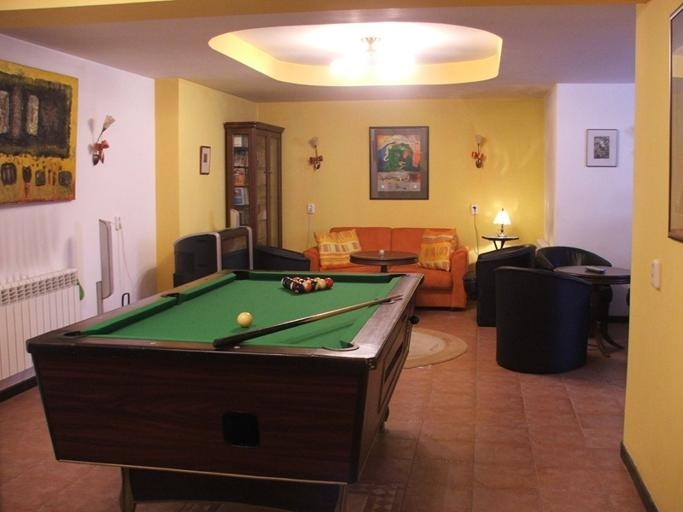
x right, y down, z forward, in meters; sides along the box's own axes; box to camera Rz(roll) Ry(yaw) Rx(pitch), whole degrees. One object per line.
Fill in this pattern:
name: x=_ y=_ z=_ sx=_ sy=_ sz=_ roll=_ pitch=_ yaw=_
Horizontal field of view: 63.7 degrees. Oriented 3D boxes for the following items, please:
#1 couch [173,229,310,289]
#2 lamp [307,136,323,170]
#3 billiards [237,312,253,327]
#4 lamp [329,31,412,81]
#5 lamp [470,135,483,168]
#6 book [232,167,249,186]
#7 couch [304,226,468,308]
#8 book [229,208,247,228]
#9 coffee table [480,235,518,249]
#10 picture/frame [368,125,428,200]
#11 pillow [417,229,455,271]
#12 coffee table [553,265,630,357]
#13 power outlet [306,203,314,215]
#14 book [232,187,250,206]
couch: x=-1.239 y=-0.047 z=6.397 sx=1.394 sy=0.591 sz=0.537 roll=-11 pitch=15 yaw=-43
lamp: x=-0.371 y=-1.488 z=8.026 sx=0.225 sy=0.470 sz=0.121 roll=-2 pitch=12 yaw=-6
billiards: x=-0.488 y=0.320 z=2.785 sx=0.072 sy=0.074 sz=0.072 roll=-2 pitch=5 yaw=6
lamp: x=0.420 y=-2.252 z=6.162 sx=0.648 sy=0.173 sz=0.638 roll=-7 pitch=10 yaw=-36
lamp: x=1.916 y=-1.457 z=7.737 sx=0.223 sy=0.383 sz=0.093 roll=0 pitch=5 yaw=-6
book: x=-1.354 y=-1.072 z=7.397 sx=0.220 sy=0.209 sz=0.219 roll=1 pitch=2 yaw=-5
couch: x=0.651 y=0.131 z=7.535 sx=2.142 sy=1.013 sz=0.981 roll=1 pitch=9 yaw=8
book: x=-1.389 y=-0.519 z=7.324 sx=0.215 sy=0.226 sz=0.323 roll=-3 pitch=11 yaw=-11
coffee table: x=2.170 y=-0.224 z=7.523 sx=0.297 sy=0.185 sz=0.294 roll=-3 pitch=6 yaw=-12
picture/frame: x=0.851 y=-1.392 z=7.904 sx=1.064 sy=1.226 sz=0.055 roll=0 pitch=3 yaw=5
pillow: x=1.291 y=-0.090 z=7.400 sx=0.307 sy=0.519 sz=0.597 roll=-12 pitch=11 yaw=-34
coffee table: x=2.557 y=0.532 z=5.520 sx=0.777 sy=0.682 sz=0.771 roll=0 pitch=-3 yaw=6
power outlet: x=-0.452 y=-0.701 z=8.153 sx=0.165 sy=0.227 sz=0.123 roll=0 pitch=2 yaw=1
book: x=-1.337 y=-0.799 z=7.509 sx=0.280 sy=0.268 sz=0.203 roll=0 pitch=2 yaw=5
